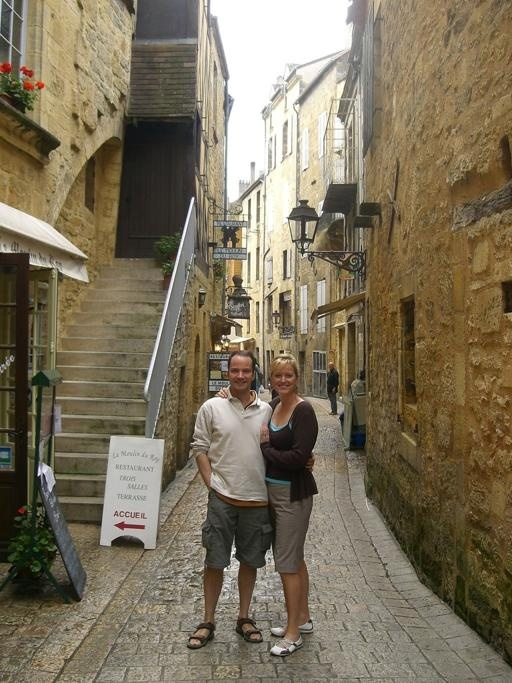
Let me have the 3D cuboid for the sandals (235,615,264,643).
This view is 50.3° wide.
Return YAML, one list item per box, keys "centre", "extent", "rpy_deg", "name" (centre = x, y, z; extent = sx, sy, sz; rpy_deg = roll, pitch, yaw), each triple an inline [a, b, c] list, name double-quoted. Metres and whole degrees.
- centre: [-0.039, 1.404, 2.656]
  extent: [0.053, 0.079, 0.171]
  rpy_deg: [0, -11, -15]
  name: "sandals"

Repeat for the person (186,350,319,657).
- centre: [-0.130, 0.743, 2.716]
  extent: [0.408, 1.400, 0.304]
  rpy_deg: [2, -6, -9]
  name: "person"

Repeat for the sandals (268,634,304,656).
- centre: [0.131, 1.355, 2.451]
  extent: [0.058, 0.064, 0.158]
  rpy_deg: [-7, -17, 35]
  name: "sandals"

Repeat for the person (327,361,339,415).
- centre: [2.507, 1.563, 17.581]
  extent: [0.323, 1.630, 1.469]
  rpy_deg: [0, -7, 6]
  name: "person"

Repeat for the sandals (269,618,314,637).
- centre: [0.177, 1.418, 2.712]
  extent: [0.219, 0.120, 0.088]
  rpy_deg: [0, -8, -10]
  name: "sandals"

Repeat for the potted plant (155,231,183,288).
- centre: [-1.657, -1.512, 9.849]
  extent: [0.449, 1.340, 1.689]
  rpy_deg: [2, -7, -11]
  name: "potted plant"

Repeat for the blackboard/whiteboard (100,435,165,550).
- centre: [-1.141, 1.299, 4.920]
  extent: [0.514, 1.192, 0.406]
  rpy_deg: [6, 30, -11]
  name: "blackboard/whiteboard"

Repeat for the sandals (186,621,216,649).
- centre: [-0.269, 1.373, 2.533]
  extent: [0.049, 0.081, 0.176]
  rpy_deg: [-1, -17, 11]
  name: "sandals"

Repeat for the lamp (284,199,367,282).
- centre: [1.251, -1.940, 9.760]
  extent: [1.318, 1.776, 0.620]
  rpy_deg: [0, 32, 18]
  name: "lamp"

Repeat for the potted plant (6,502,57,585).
- centre: [-1.390, 1.263, 3.304]
  extent: [0.274, 0.514, 0.546]
  rpy_deg: [4, -7, -25]
  name: "potted plant"
